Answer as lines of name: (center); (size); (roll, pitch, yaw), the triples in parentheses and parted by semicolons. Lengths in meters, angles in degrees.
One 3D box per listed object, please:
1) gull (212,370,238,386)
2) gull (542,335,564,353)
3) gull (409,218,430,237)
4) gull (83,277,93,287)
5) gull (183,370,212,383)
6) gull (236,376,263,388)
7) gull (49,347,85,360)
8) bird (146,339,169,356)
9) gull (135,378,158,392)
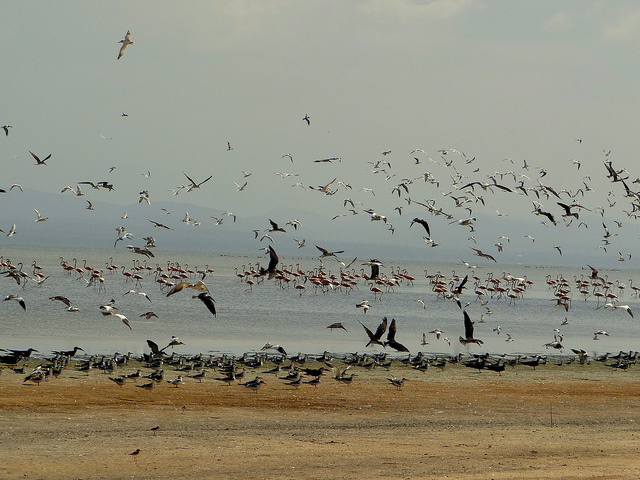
gull: (-5.579, 8.314, 82.495); (0.961, 0.817, 1.306); (3, 2, -4)
gull: (15.532, 7.077, 91.969); (1.834, 0.764, 1.582); (5, -8, 2)
gull: (3.857, -0.555, 52.929); (0.271, 0.869, 1.593); (2, 7, -14)
gull: (-23.303, 4.353, 139.686); (1.143, 1.009, 0.576); (-5, 18, 37)
gull: (-7.318, 8.247, 83.678); (0.732, 0.619, 1.380); (1, 3, -35)
gull: (-4.141, 8.439, 82.144); (1.128, 0.608, 1.654); (2, 2, -14)
gull: (-15.376, 7.010, 86.222); (2.413, 0.815, 0.558); (9, 13, 6)
bird: (-10.425, 7.005, 89.076); (0.602, 1.364, 2.014); (-18, -15, -18)
gull: (-9.997, 8.492, 80.602); (0.891, 0.699, 1.529); (1, 3, -36)
